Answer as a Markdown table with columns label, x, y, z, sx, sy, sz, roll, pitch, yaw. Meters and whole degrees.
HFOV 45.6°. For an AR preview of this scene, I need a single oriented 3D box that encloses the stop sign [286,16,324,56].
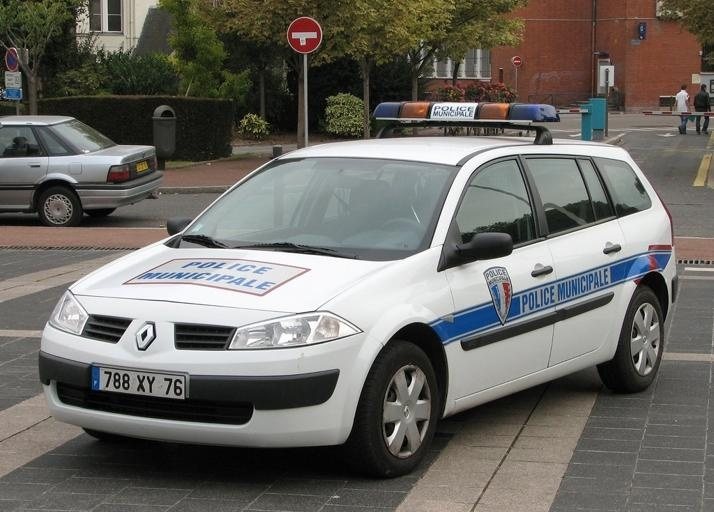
| label | x | y | z | sx | sy | sz | roll | pitch | yaw |
| --- | --- | --- | --- | --- | --- | --- | --- | --- | --- |
| stop sign | -0.796 | -3.448 | 13.428 | 0.480 | 0.589 | 0.873 | 0 | 10 | 0 |
